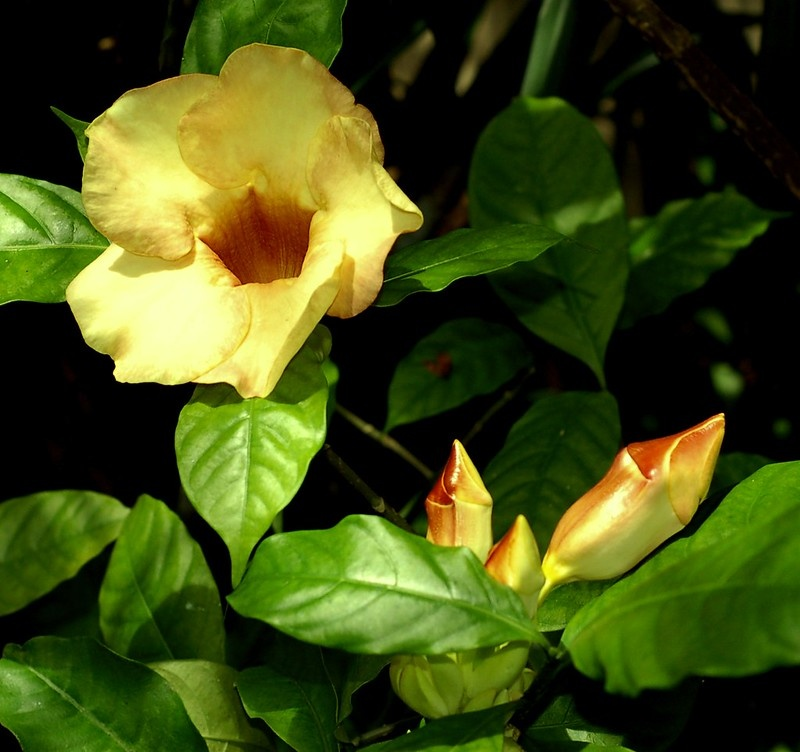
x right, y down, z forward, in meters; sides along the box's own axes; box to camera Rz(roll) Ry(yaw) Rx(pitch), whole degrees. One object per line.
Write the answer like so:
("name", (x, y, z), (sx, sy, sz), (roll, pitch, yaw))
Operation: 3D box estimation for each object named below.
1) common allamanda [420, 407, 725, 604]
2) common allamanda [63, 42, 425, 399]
("common allamanda", (0.148, 0.113, 0.854), (0.222, 0.104, 0.134), (-17, 21, 8))
("common allamanda", (-0.117, -0.117, 0.789), (0.210, 0.252, 0.147), (4, 20, -28))
